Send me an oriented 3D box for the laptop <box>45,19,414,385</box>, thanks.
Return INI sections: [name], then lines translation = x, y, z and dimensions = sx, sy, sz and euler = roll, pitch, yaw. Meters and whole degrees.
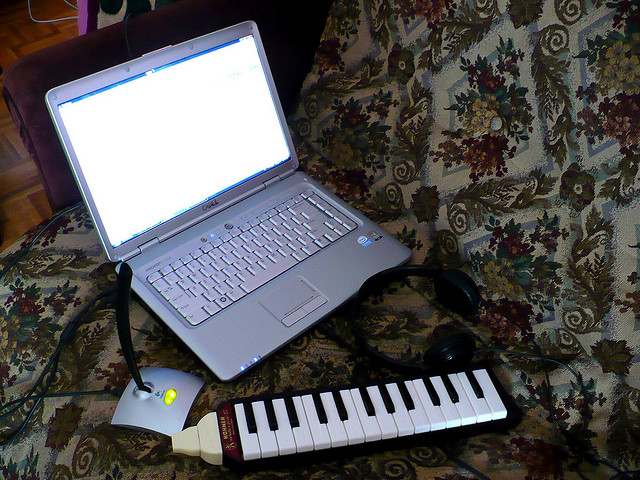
[laptop]
translation = -0.195, -0.062, 1.151
dimensions = 0.547, 0.349, 0.568
euler = -31, 50, -29
